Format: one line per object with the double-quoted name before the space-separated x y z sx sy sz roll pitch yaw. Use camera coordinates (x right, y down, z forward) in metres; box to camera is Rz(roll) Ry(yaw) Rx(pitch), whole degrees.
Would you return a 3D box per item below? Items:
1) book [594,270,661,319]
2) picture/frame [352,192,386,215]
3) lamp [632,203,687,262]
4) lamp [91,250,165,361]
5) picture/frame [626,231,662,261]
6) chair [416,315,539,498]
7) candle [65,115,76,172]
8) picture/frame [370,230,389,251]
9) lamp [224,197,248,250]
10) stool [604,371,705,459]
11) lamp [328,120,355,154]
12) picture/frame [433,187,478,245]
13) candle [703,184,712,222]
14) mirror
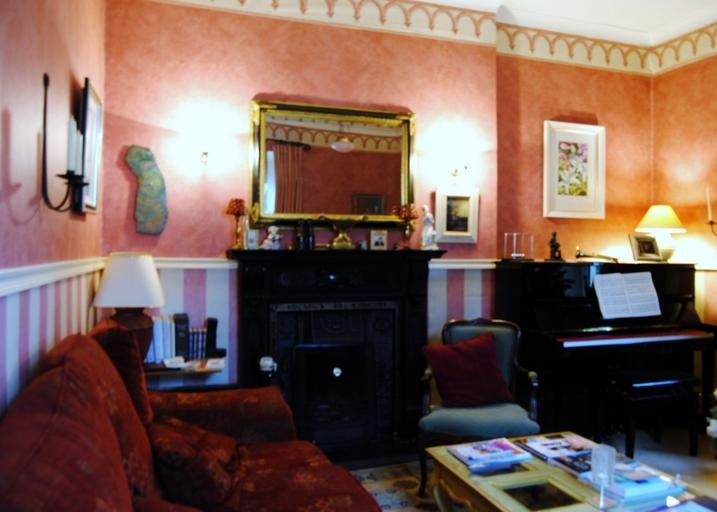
"book" 2.216 0.317 4.849 0.542 0.386 0.129 0 -9 -14
"picture/frame" 0.075 -0.418 4.667 0.183 0.131 0.027 0 -2 -15
"lamp" 2.720 -0.172 5.342 0.503 0.565 0.494 4 -6 -44
"lamp" -1.480 0.360 3.799 0.473 0.779 0.481 -1 -1 28
"picture/frame" 2.599 -0.097 5.334 0.249 0.251 0.027 11 -22 -19
"chair" 0.897 1.070 4.281 0.802 1.104 0.830 0 -3 12
"candle" -1.456 -0.569 3.000 0.034 0.281 0.072 -1 2 -21
"picture/frame" 0.164 -0.126 4.710 0.157 0.124 0.017 -2 -1 -15
"lamp" -0.912 -0.249 4.403 0.142 0.373 0.226 0 2 -15
"stool" 2.295 1.229 4.723 0.654 0.595 0.472 0 2 -14
"lamp" -0.142 -0.933 4.625 0.245 0.310 0.146 2 8 -2
"picture/frame" 0.794 -0.352 4.884 0.483 0.557 0.057 0 2 -17
"candle" 3.002 -0.443 5.036 0.069 0.318 0.374 1 3 31
"mirror" -0.179 -0.698 4.621 1.351 1.016 0.027 2 -7 -13
